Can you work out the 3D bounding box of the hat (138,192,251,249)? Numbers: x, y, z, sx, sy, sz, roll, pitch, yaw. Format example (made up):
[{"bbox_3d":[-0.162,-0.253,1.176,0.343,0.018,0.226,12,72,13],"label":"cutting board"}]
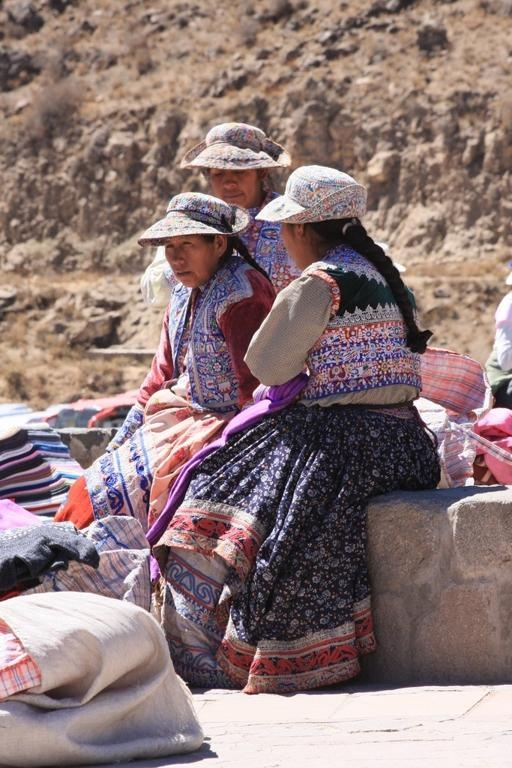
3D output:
[{"bbox_3d":[-0.221,-0.542,4.746,0.258,0.087,0.263,-14,-3,-25],"label":"hat"}]

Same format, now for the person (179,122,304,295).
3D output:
[{"bbox_3d":[-0.047,-0.622,5.742,0.599,0.884,0.469,-7,9,-5],"label":"person"}]

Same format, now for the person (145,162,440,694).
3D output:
[{"bbox_3d":[0.060,0.136,4.101,0.686,1.413,1.147,1,24,33],"label":"person"}]
